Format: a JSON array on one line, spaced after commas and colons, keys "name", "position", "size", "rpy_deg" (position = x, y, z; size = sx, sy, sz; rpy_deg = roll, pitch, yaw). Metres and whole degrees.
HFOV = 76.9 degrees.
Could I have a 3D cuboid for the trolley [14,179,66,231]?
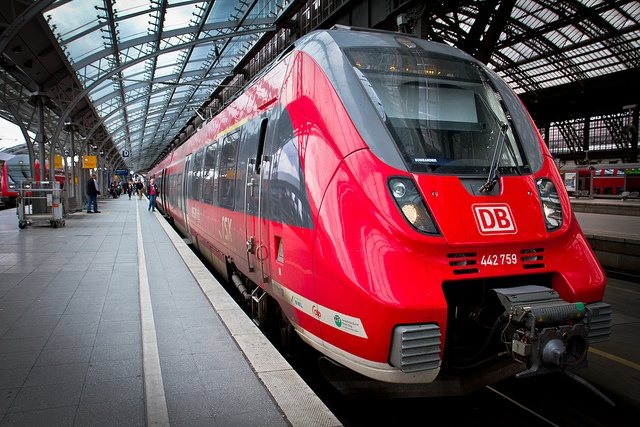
[{"name": "trolley", "position": [-11.382, -0.406, 16.579], "size": [1.709, 1.941, 1.880], "rpy_deg": [4, 6, 38]}]
